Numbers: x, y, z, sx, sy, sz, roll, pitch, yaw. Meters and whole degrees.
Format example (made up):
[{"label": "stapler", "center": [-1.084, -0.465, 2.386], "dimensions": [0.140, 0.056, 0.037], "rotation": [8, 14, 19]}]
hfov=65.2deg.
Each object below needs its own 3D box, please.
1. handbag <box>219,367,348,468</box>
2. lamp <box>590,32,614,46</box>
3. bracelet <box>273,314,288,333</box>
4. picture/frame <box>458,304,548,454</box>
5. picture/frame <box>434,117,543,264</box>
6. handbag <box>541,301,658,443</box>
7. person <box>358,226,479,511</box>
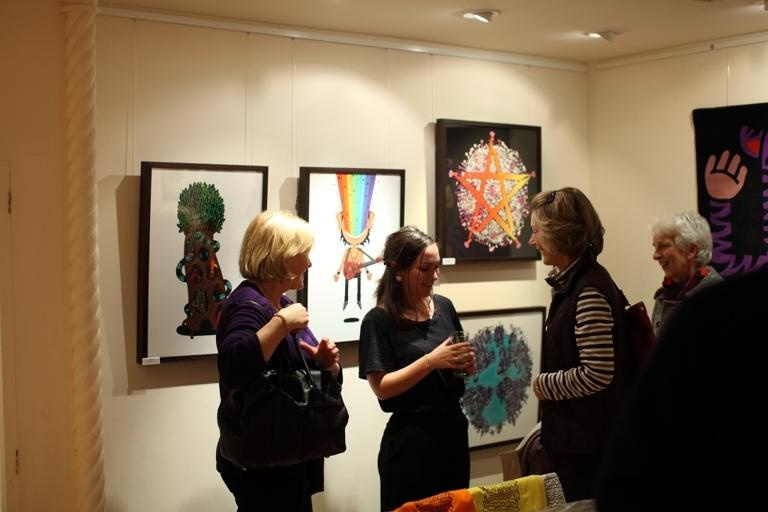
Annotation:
[{"label": "handbag", "center": [-0.424, 0.646, 2.423], "dimensions": [0.355, 0.382, 0.201], "rotation": [2, 15, -27]}, {"label": "lamp", "center": [1.410, -1.407, 3.868], "dimensions": [0.078, 0.036, 0.083], "rotation": [3, -14, 1]}, {"label": "bracelet", "center": [-0.420, 0.268, 2.442], "dimensions": [0.019, 0.060, 0.052], "rotation": [-25, 18, -20]}, {"label": "picture/frame", "center": [0.737, 0.797, 3.836], "dimensions": [0.897, 1.060, 0.072], "rotation": [-5, 7, -26]}, {"label": "picture/frame", "center": [0.661, -0.436, 4.018], "dimensions": [0.905, 1.143, 0.072], "rotation": [0, -2, -31]}, {"label": "handbag", "center": [0.949, 0.465, 2.668], "dimensions": [0.201, 0.641, 0.460], "rotation": [-1, -3, 9]}, {"label": "person", "center": [0.147, 0.529, 2.843], "dimensions": [0.528, 1.329, 0.381], "rotation": [0, 3, 3]}]
